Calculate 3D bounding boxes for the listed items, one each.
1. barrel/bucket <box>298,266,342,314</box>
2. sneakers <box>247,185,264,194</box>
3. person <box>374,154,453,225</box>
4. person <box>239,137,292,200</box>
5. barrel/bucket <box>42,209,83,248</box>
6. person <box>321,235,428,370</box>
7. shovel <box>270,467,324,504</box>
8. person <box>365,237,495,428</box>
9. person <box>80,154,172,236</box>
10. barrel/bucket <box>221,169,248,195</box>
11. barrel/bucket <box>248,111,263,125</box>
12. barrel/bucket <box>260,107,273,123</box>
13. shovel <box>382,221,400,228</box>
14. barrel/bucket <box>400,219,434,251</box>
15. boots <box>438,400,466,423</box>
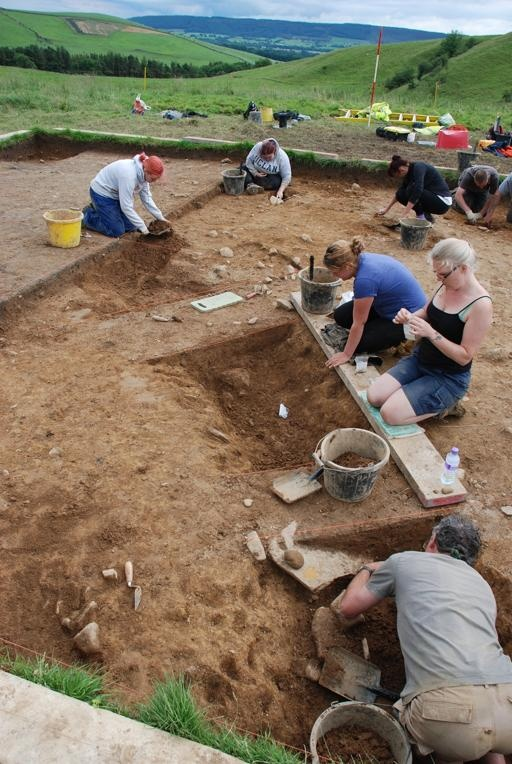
[{"bbox_3d":[0.499,-0.743,5.102,0.399,0.287,0.371,2,43,-2],"label":"barrel/bucket"},{"bbox_3d":[-0.002,-2.692,8.677,0.238,0.131,0.105,-7,30,-19],"label":"sneakers"},{"bbox_3d":[1.914,-2.255,7.328,0.818,0.783,0.696,5,28,3],"label":"person"},{"bbox_3d":[0.138,-2.955,8.561,0.646,0.762,0.806,2,28,-3],"label":"person"},{"bbox_3d":[-1.960,-1.567,6.343,0.364,0.332,0.451,-6,29,-17],"label":"barrel/bucket"},{"bbox_3d":[0.785,-0.628,4.471,0.916,0.811,0.696,-27,32,-30],"label":"person"},{"bbox_3d":[0.237,0.619,3.714,0.275,0.093,0.186,-16,36,-16],"label":"shovel"},{"bbox_3d":[1.048,-0.312,3.810,0.606,1.219,0.494,8,29,9],"label":"person"},{"bbox_3d":[-1.391,-1.970,6.529,1.109,0.873,0.462,17,31,24],"label":"person"},{"bbox_3d":[-0.311,-2.793,8.713,0.365,0.260,0.350,-1,42,1],"label":"barrel/bucket"},{"bbox_3d":[-0.011,-5.656,13.208,0.277,0.219,0.336,2,27,-2],"label":"barrel/bucket"},{"bbox_3d":[0.255,-5.756,13.380,0.343,0.330,0.339,2,29,-1],"label":"barrel/bucket"},{"bbox_3d":[1.653,-1.906,7.514,0.149,0.038,0.144,-5,31,-12],"label":"shovel"},{"bbox_3d":[1.666,-1.599,6.749,0.367,0.263,0.356,2,35,-1],"label":"barrel/bucket"},{"bbox_3d":[1.291,0.192,4.097,0.161,0.064,0.102,-17,33,8],"label":"boots"}]
